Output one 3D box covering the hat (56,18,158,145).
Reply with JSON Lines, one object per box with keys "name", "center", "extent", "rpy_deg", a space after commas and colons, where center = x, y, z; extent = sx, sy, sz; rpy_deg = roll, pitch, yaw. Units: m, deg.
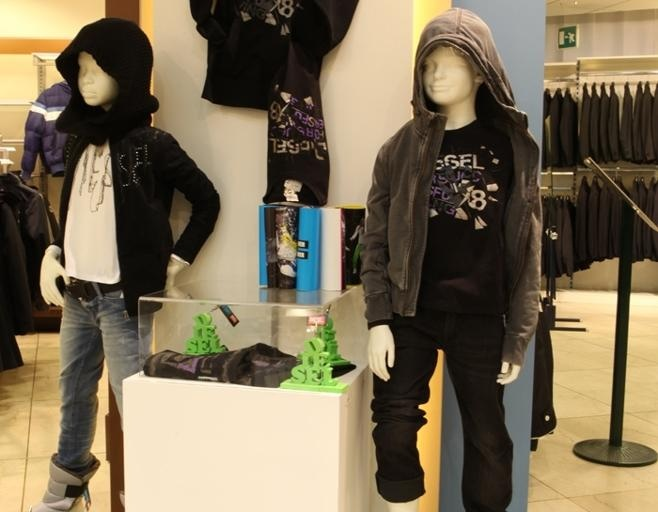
{"name": "hat", "center": [-0.826, -0.662, 2.345], "extent": [0.309, 0.471, 0.349], "rpy_deg": [12, 10, 40]}
